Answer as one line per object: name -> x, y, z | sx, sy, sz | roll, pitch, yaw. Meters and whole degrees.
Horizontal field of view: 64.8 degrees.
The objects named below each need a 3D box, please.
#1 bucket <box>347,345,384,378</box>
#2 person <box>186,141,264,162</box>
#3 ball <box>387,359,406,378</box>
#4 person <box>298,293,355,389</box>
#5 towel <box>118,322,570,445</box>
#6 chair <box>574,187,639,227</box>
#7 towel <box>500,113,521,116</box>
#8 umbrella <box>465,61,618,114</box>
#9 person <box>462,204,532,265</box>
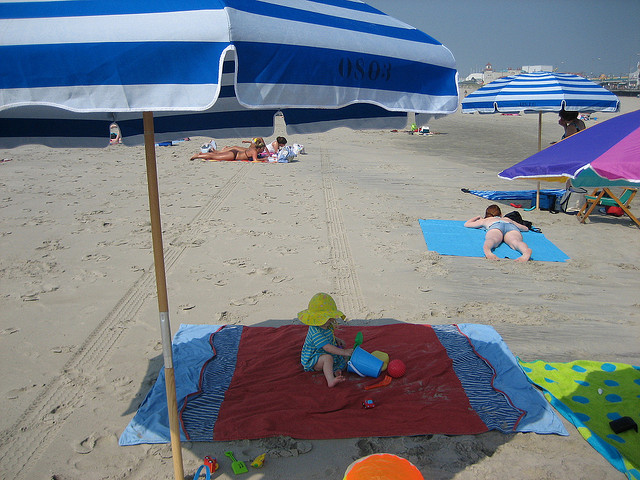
bucket -> 0.466, 1.220, 5.013 | 0.354, 0.242, 0.307 | -1, -1, 8
person -> -2.869, -2.625, 15.504 | 1.525, 0.383, 0.926 | -3, 28, 2
ball -> 0.753, 1.240, 4.875 | 0.187, 0.143, 0.172 | -2, 2, 0
person -> 0.111, 0.952, 4.989 | 0.732, 0.698, 0.918 | -1, 8, 2
towel -> 0.311, 1.321, 4.942 | 3.474, 0.380, 1.628 | 2, 18, -2
chair -> 5.518, -0.677, 9.533 | 1.067, 0.670, 1.230 | 13, 21, 23
towel -> 13.998, -9.141, 36.505 | 1.186, 0.107, 1.457 | 8, 18, 13
umbrella -> 4.781, -3.152, 10.778 | 2.946, 0.924, 1.221 | 9, 21, 15
person -> 2.970, -0.103, 8.227 | 0.814, 0.245, 1.275 | 0, 20, 8
